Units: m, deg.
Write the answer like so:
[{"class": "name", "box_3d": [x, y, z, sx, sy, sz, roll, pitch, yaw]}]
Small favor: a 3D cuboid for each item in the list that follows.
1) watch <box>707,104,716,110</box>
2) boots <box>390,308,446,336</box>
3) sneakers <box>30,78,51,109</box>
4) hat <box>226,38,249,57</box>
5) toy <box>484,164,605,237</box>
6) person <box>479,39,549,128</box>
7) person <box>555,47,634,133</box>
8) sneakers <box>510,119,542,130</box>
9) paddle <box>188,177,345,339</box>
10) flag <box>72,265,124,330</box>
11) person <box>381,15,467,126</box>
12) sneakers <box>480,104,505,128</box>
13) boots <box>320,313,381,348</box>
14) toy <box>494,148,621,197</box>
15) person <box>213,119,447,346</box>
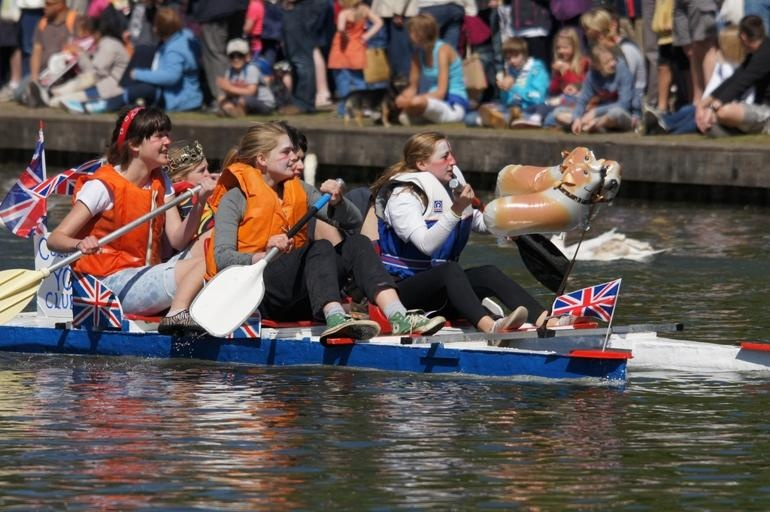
[{"class": "watch", "box_3d": [3.276, -1.459, 16.750, 0.049, 0.044, 0.047, 23, 4, -7]}, {"class": "boots", "box_3d": [0.242, 0.458, 11.763, 0.429, 0.178, 0.156, -7, -2, 16]}, {"class": "sneakers", "box_3d": [-4.232, -1.969, 20.898, 0.209, 0.439, 0.159, 7, -28, -33]}, {"class": "hat", "box_3d": [-1.589, -2.303, 18.789, 0.253, 0.191, 0.232, -1, 6, -5]}, {"class": "toy", "box_3d": [1.050, -0.296, 11.639, 0.763, 0.325, 0.359, -8, 4, -16]}, {"class": "person", "box_3d": [1.422, -1.824, 17.996, 0.853, 0.848, 0.830, -10, 17, -44]}, {"class": "person", "box_3d": [2.295, -1.701, 17.335, 0.912, 0.862, 0.802, -8, 15, -18]}, {"class": "sneakers", "box_3d": [1.558, -1.403, 18.146, 0.323, 0.112, 0.112, 0, 1, 8]}, {"class": "paddle", "box_3d": [-0.892, 0.153, 11.808, 0.289, 1.131, 0.055, 46, -6, 6]}, {"class": "flag", "box_3d": [-2.058, 0.318, 12.262, 0.499, 0.369, 0.035, 4, 9, 12]}, {"class": "person", "box_3d": [0.487, -1.956, 18.029, 0.927, 1.109, 0.924, 3, 19, 17]}, {"class": "sneakers", "box_3d": [1.194, -1.511, 18.278, 0.235, 0.164, 0.323, -5, 33, -28]}, {"class": "boots", "box_3d": [-0.221, 0.468, 11.735, 0.456, 0.182, 0.187, -20, -34, 32]}, {"class": "toy", "box_3d": [1.205, -0.545, 11.740, 0.833, 0.385, 0.309, 0, 50, 18]}, {"class": "person", "box_3d": [-0.409, -0.175, 11.936, 1.092, 1.336, 1.831, -10, 11, -41]}]
